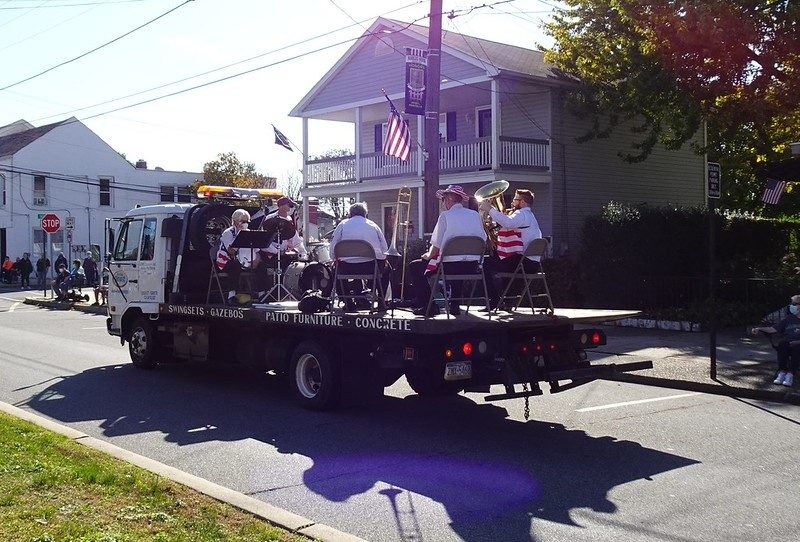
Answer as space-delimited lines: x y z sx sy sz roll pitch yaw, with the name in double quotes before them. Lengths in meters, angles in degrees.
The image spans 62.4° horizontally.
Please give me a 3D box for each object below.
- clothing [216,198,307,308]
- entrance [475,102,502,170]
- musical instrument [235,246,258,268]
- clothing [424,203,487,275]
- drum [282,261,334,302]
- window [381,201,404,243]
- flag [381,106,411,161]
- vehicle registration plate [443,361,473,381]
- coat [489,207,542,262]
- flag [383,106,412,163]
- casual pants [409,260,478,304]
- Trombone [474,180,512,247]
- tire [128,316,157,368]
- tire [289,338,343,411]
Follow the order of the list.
"clothing" -2.471 -0.348 12.280 1.341 2.024 1.835 0 6 -34
"entrance" 3.112 -4.935 24.330 0.764 2.331 0.262 0 -3 31
"musical instrument" -2.712 -0.249 11.857 0.346 0.402 0.276 0 -1 36
"clothing" 0.761 -0.637 9.738 1.134 1.160 0.676 -1 5 -8
"drum" -1.893 0.241 12.661 0.468 0.735 0.637 -1 0 33
"window" -0.265 -2.014 28.958 1.005 1.892 1.349 -1 10 -13
"flag" -0.032 -3.297 15.652 0.605 0.122 1.539 15 -38 6
"vehicle registration plate" 0.746 1.279 8.514 0.253 0.268 0.071 4 -37 -3
"coat" 1.764 -0.650 10.046 0.738 0.858 0.416 -16 27 -15
"flag" -0.035 -3.395 15.882 0.633 1.717 0.120 6 -28 -3
"casual pants" 0.516 0.128 10.081 0.894 0.717 0.673 0 0 21
"Trombone" 1.443 -1.061 10.363 0.393 0.790 0.694 21 9 28
"tire" -4.911 1.355 12.709 0.362 1.125 0.895 -2 2 -44
"tire" -1.277 1.589 10.112 0.333 1.110 1.016 3 12 -15
